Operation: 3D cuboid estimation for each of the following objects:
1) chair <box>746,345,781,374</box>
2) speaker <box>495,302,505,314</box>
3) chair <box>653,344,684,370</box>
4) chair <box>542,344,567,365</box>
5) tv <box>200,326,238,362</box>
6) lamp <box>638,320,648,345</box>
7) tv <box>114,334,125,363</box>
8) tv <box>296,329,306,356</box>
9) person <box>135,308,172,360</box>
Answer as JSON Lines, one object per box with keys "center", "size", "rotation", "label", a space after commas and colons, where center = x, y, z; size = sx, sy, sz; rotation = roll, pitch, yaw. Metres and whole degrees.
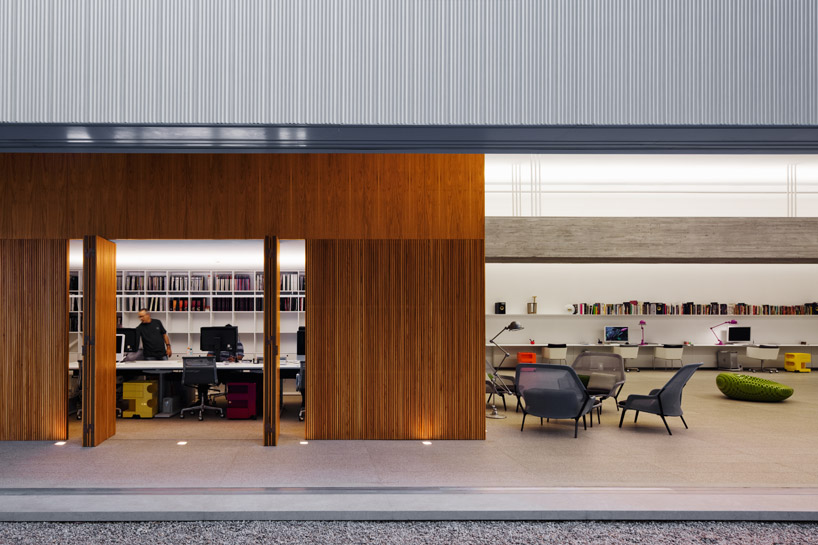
{"center": [7.490, 1.832, 22.645], "size": [0.664, 0.689, 0.653], "rotation": [1, 2, 8], "label": "chair"}
{"center": [1.948, 0.768, 22.658], "size": [0.213, 0.256, 0.282], "rotation": [2, -4, -28], "label": "speaker"}
{"center": [5.520, 1.800, 22.592], "size": [0.603, 0.624, 0.568], "rotation": [1, -1, 0], "label": "chair"}
{"center": [3.054, 1.710, 22.198], "size": [0.449, 0.248, 0.431], "rotation": [0, -1, -3], "label": "chair"}
{"center": [-3.069, 1.170, 17.203], "size": [0.603, 0.535, 0.210], "rotation": [1, 3, -6], "label": "tv"}
{"center": [5.069, 1.266, 22.990], "size": [0.147, 0.474, 0.196], "rotation": [-2, 4, 8], "label": "lamp"}
{"center": [-4.712, 1.202, 17.383], "size": [0.160, 0.382, 0.432], "rotation": [-4, 4, -14], "label": "tv"}
{"center": [-1.714, 1.113, 16.822], "size": [0.111, 0.411, 0.220], "rotation": [-4, 4, -13], "label": "tv"}
{"center": [-4.191, 1.007, 17.363], "size": [0.495, 0.831, 0.655], "rotation": [-4, 4, -16], "label": "person"}
